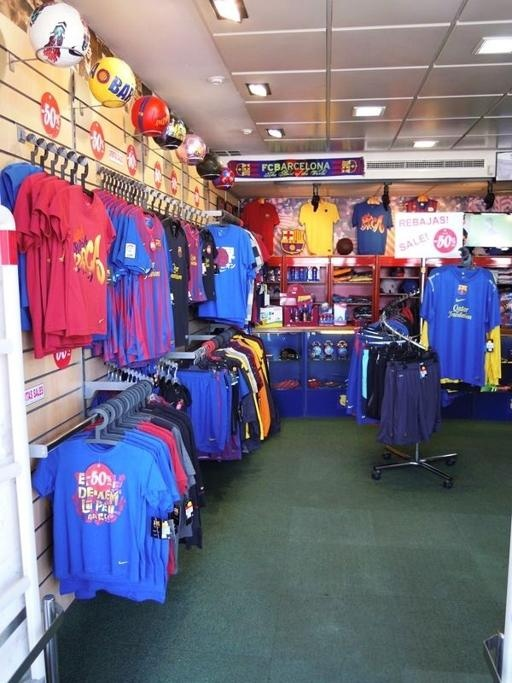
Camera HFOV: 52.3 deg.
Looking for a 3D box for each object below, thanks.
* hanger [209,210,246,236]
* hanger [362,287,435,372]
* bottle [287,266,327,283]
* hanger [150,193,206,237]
[{"bbox_3d":[-0.267,-1.204,5.153,0.266,0.187,0.651,0,6,4],"label":"hanger"},{"bbox_3d":[1.401,-0.129,5.108,0.670,0.453,0.905,-4,8,40],"label":"hanger"},{"bbox_3d":[0.677,-0.952,7.358,0.417,0.235,0.391,-1,1,0],"label":"bottle"},{"bbox_3d":[-0.656,-1.106,4.395,0.248,0.211,0.721,27,12,20],"label":"hanger"}]
